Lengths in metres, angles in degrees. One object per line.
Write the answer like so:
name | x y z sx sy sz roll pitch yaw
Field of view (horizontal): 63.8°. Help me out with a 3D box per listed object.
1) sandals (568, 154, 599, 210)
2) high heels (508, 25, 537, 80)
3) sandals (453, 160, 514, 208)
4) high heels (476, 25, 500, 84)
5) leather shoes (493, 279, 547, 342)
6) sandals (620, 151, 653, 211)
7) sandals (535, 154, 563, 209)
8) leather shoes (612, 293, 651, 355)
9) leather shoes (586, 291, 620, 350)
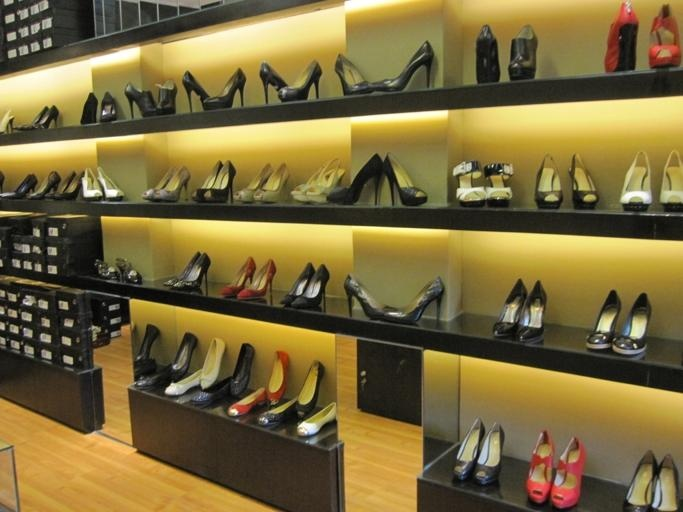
sandals | 1.129 -0.346 2.657 0.115 0.133 0.356 -10 40 14
high heels | 0.861 -0.904 2.627 0.133 0.350 0.112 -3 9 -6
sandals | 0.720 -0.417 2.805 0.236 0.127 0.306 -4 21 8
high heels | 0.704 -0.960 2.646 0.105 0.306 0.127 1 4 31
leather shoes | 0.881 0.295 2.691 0.193 0.145 0.362 5 34 35
sandals | 1.343 -0.347 2.525 0.125 0.154 0.388 2 34 28
sandals | 1.003 -0.366 2.721 0.112 0.141 0.360 -5 35 17
leather shoes | 1.349 0.338 2.521 0.132 0.163 0.397 4 36 39
leather shoes | 1.257 0.309 2.622 0.086 0.122 0.293 0 39 41
